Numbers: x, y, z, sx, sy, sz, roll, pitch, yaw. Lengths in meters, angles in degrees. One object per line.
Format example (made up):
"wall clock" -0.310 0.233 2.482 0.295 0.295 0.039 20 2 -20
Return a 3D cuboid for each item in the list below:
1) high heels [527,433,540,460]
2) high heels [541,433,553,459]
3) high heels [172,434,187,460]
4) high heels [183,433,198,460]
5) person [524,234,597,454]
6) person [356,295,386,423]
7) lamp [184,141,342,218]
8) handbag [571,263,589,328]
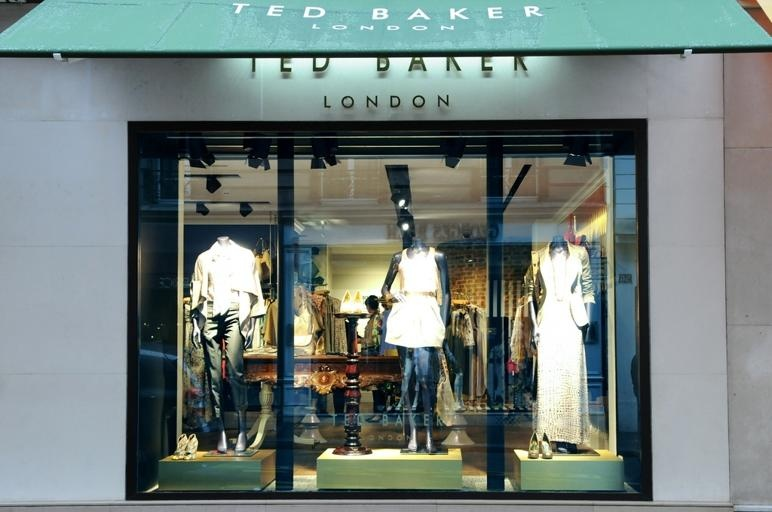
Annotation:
"high heels" 1.350 1.731 10.128 0.076 0.214 0.084 0 -41 7
"high heels" 1.456 1.731 10.129 0.077 0.197 0.080 -4 -22 1
"high heels" -1.854 1.730 10.142 0.079 0.216 0.087 -1 -14 13
"high heels" -1.742 1.735 10.154 0.084 0.209 0.086 0 -14 -7
"person" 1.598 0.833 10.217 0.576 1.964 0.202 -1 -9 4
"person" -0.099 0.905 10.223 0.228 0.980 0.334 0 -1 12
"lamp" -1.221 -0.665 10.314 1.210 0.582 0.239 -1 -9 6
"handbag" 1.775 0.412 10.232 0.165 0.511 0.086 1 -9 -4
